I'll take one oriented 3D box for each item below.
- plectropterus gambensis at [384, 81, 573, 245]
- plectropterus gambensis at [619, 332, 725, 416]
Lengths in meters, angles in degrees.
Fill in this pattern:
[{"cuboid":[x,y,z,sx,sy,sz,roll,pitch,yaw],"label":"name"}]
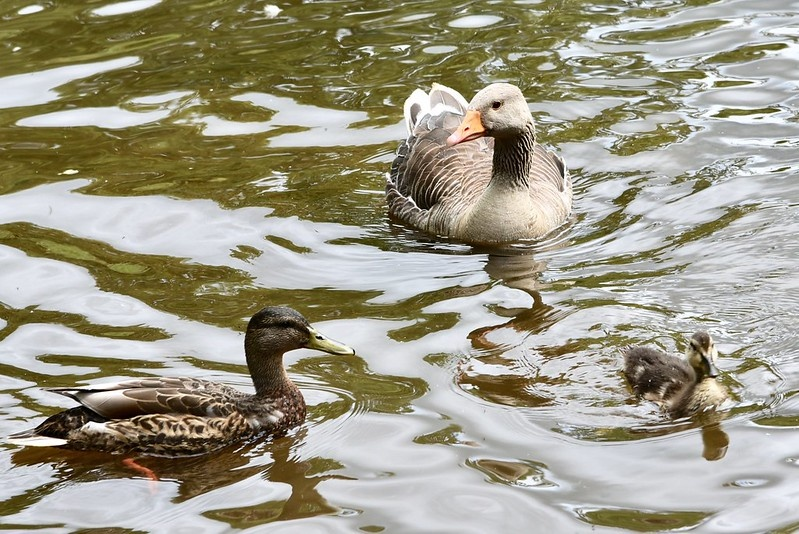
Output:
[{"cuboid":[1.722,-1.666,11.572,3.232,2.066,3.014,-8,41,-7],"label":"plectropterus gambensis"},{"cuboid":[2.673,0.970,7.818,0.807,0.841,0.929,-16,29,-6],"label":"plectropterus gambensis"}]
